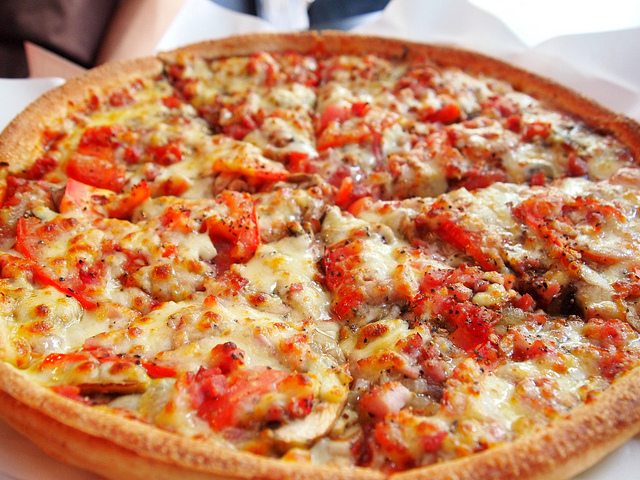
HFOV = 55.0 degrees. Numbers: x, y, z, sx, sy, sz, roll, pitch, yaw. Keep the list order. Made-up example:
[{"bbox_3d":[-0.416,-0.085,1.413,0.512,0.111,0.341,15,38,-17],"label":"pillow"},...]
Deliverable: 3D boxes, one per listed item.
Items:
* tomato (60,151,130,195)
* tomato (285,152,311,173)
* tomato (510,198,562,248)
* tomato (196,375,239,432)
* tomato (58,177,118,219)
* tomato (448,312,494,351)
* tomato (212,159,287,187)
[{"bbox_3d":[-1.477,-0.450,4.063,0.375,0.089,0.273,24,31,-20],"label":"tomato"},{"bbox_3d":[-0.143,-0.534,4.303,0.182,0.085,0.141,17,57,-2],"label":"tomato"},{"bbox_3d":[1.324,-0.090,3.698,0.185,0.073,0.306,-30,56,-14],"label":"tomato"},{"bbox_3d":[-0.488,0.775,2.946,0.219,0.061,0.212,22,73,25],"label":"tomato"},{"bbox_3d":[-1.486,-0.274,3.876,0.276,0.087,0.266,37,30,18],"label":"tomato"},{"bbox_3d":[0.809,0.496,3.278,0.206,0.073,0.136,-35,72,-28],"label":"tomato"},{"bbox_3d":[-0.474,-0.430,4.095,0.305,0.232,0.069,4,97,-36],"label":"tomato"}]
